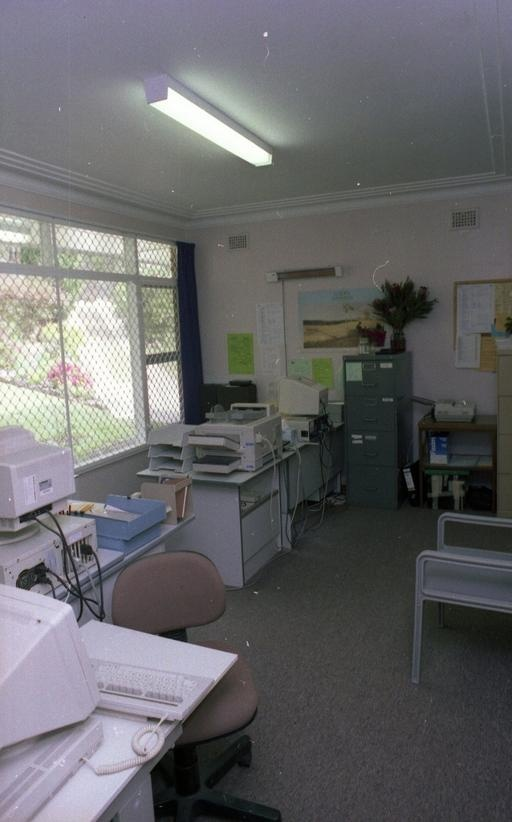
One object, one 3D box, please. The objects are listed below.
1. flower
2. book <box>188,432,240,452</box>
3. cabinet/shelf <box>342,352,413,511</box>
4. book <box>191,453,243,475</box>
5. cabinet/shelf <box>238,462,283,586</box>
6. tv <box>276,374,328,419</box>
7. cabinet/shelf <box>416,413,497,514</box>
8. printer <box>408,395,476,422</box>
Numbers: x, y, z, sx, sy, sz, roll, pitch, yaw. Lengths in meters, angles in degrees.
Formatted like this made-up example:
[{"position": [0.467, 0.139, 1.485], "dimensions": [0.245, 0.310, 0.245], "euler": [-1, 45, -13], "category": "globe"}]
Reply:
[{"position": [1.256, -0.832, 4.883], "dimensions": [0.458, 0.683, 0.618], "euler": [2, 5, 21], "category": "flower"}, {"position": [-0.273, 0.209, 3.672], "dimensions": [0.316, 0.120, 0.147], "euler": [1, 8, 29], "category": "book"}, {"position": [0.998, 0.184, 4.873], "dimensions": [0.477, 1.322, 0.242], "euler": [-2, 7, 8], "category": "cabinet/shelf"}, {"position": [-0.279, 0.349, 3.661], "dimensions": [0.344, 0.110, 0.235], "euler": [-1, 8, 21], "category": "book"}, {"position": [0.018, 0.735, 3.776], "dimensions": [0.212, 0.622, 0.595], "euler": [0, 12, 14], "category": "cabinet/shelf"}, {"position": [0.376, -0.135, 4.824], "dimensions": [0.303, 0.298, 0.332], "euler": [-1, 6, 11], "category": "tv"}, {"position": [1.703, 0.407, 4.824], "dimensions": [0.793, 1.105, 0.518], "euler": [1, 3, 13], "category": "cabinet/shelf"}, {"position": [1.606, -0.015, 4.807], "dimensions": [0.343, 0.161, 0.230], "euler": [0, 6, 15], "category": "printer"}]
